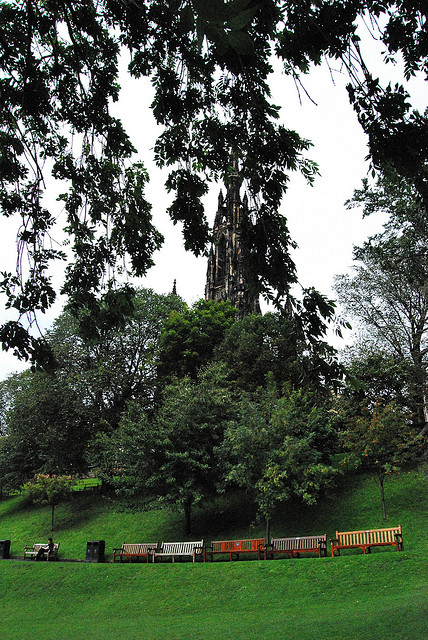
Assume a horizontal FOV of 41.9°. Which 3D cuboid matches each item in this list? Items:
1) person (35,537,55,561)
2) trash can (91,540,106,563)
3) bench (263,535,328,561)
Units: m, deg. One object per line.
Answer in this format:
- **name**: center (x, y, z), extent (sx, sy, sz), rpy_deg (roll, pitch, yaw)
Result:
- **person**: center (-8.521, 11.483, 28.057), extent (0.919, 0.975, 2.011), rpy_deg (-3, -14, -19)
- **trash can**: center (-5.221, 10.398, 25.009), extent (0.559, 0.867, 0.896), rpy_deg (-6, -13, -8)
- **bench**: center (3.060, 8.379, 20.527), extent (1.710, 0.763, 2.639), rpy_deg (-2, -14, -23)
